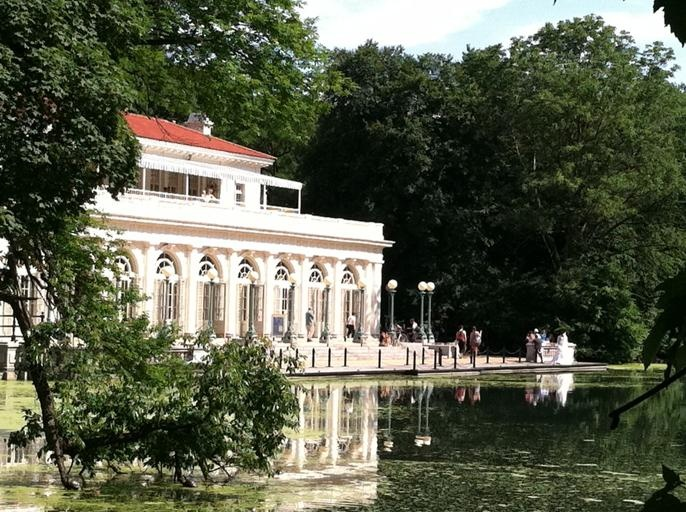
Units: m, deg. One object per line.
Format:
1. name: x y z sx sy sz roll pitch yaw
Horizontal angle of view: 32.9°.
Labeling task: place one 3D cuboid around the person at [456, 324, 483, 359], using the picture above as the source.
1. person: 5.853 3.917 53.699 1.246 1.703 0.565 3 8 27

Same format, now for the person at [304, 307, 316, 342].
1. person: -1.484 3.050 53.134 0.434 1.615 1.218 -1 -8 -2

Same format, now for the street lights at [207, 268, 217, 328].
1. street lights: -5.550 1.880 48.633 0.459 2.556 0.419 6 -5 -43
